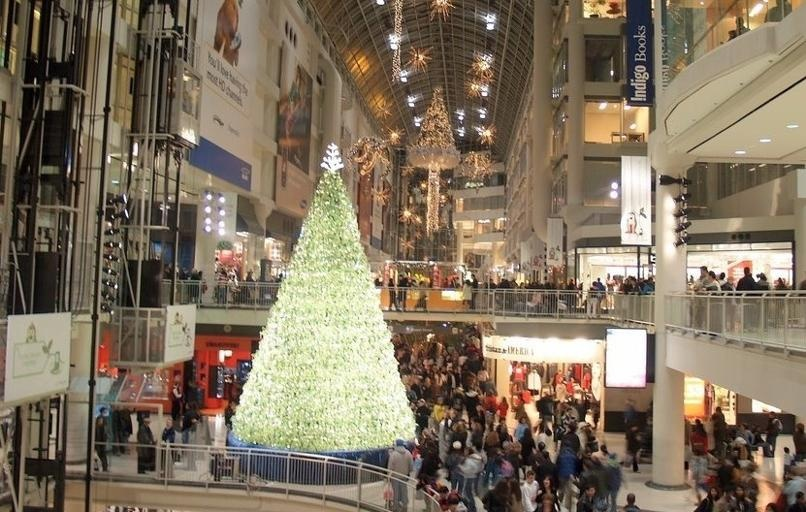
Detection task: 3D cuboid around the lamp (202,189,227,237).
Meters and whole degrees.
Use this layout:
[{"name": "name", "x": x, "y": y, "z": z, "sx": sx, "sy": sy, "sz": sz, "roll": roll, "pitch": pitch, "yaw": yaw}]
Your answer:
[{"name": "lamp", "x": -8.154, "y": -1.876, "z": 34.377, "sx": 1.095, "sy": 1.735, "sz": 0.894, "roll": 3, "pitch": 12, "yaw": -11}]

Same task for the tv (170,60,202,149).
[{"name": "tv", "x": -6.750, "y": -4.807, "z": 24.803, "sx": 0.449, "sy": 2.669, "sz": 1.321, "roll": 10, "pitch": 13, "yaw": 19}]

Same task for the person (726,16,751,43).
[{"name": "person", "x": 8.538, "y": -5.933, "z": 20.505, "sx": 0.250, "sy": 0.587, "sz": 0.774, "roll": 4, "pitch": 13, "yaw": -7}]
